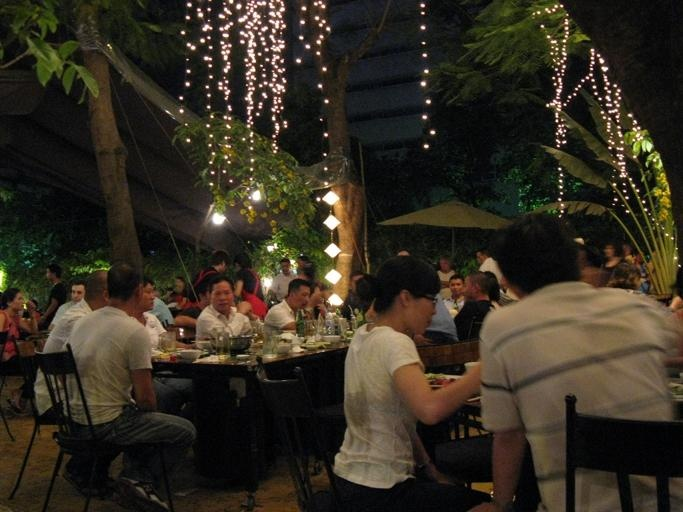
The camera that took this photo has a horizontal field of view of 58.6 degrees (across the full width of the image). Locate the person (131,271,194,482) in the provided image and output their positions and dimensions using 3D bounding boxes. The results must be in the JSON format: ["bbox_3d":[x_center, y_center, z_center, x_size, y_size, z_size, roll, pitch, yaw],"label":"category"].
[{"bbox_3d":[-1.625,0.950,5.079,0.636,1.529,0.510,8,4,-28],"label":"person"}]

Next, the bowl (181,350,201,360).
[{"bbox_3d":[-1.073,0.695,4.293,0.086,0.034,0.086,-3,2,0],"label":"bowl"}]

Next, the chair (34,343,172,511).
[{"bbox_3d":[-1.554,1.091,3.815,0.689,1.043,0.849,2,-11,-30],"label":"chair"}]

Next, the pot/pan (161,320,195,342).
[{"bbox_3d":[-1.516,0.700,5.692,0.232,0.284,0.223,6,6,40],"label":"pot/pan"}]
